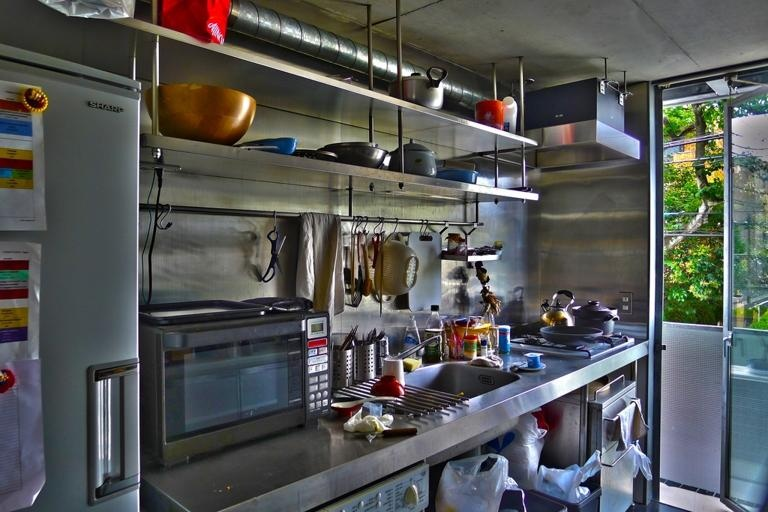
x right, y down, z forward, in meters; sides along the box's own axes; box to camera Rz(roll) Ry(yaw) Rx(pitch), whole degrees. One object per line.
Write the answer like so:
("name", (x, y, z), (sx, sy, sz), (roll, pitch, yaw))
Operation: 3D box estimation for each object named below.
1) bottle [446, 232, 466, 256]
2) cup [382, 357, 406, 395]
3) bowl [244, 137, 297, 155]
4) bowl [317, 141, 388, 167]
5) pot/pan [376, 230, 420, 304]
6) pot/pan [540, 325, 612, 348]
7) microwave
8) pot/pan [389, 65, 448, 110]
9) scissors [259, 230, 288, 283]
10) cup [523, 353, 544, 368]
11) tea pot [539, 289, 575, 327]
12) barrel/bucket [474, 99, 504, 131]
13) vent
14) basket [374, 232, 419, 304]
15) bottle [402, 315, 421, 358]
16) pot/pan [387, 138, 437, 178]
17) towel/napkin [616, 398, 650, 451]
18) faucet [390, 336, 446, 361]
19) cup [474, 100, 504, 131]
("bottle", (0.461, -0.078, 3.623), (0.156, 0.156, 0.093), (7, -10, -43))
("cup", (0.049, 0.611, 2.844), (0.137, 0.192, 0.143), (5, -18, 1))
("bowl", (-0.464, -0.456, 2.355), (0.262, 0.068, 0.092), (-7, 18, -42))
("bowl", (-0.124, -0.471, 2.661), (0.173, 0.060, 0.172), (-2, -2, 0))
("pot/pan", (0.017, 0.065, 3.265), (0.361, 0.377, 0.284), (-6, 7, 4))
("pot/pan", (1.191, 0.505, 3.665), (0.183, 0.065, 0.280), (1, 0, -21))
("microwave", (-0.665, 0.495, 2.368), (0.550, 0.487, 0.779), (-2, -1, 44))
("pot/pan", (0.155, -0.884, 2.945), (0.311, 0.187, 0.244), (7, 7, 43))
("scissors", (-0.550, 0.000, 2.817), (0.123, 0.270, 0.014), (5, -2, -41))
("cup", (0.861, 0.600, 3.280), (0.086, 0.084, 0.102), (1, -12, -7))
("tea pot", (1.221, 0.377, 4.023), (0.204, 0.284, 0.282), (-7, 7, -42))
("barrel/bucket", (0.610, -0.806, 3.304), (0.155, 0.158, 0.170), (-1, -1, 0))
("vent", (1.308, -0.921, 3.920), (0.796, 0.429, 0.829), (5, 3, 31))
("basket", (0.057, 0.074, 3.147), (0.278, 0.339, 0.326), (2, -2, 41))
("bottle", (0.155, 0.489, 3.459), (0.137, 0.284, 0.096), (3, 12, 5))
("pot/pan", (0.143, -0.484, 2.890), (0.191, 0.143, 0.195), (4, 4, 42))
("towel/napkin", (1.544, 1.053, 3.631), (0.377, 0.235, 0.111), (-2, 1, -45))
("faucet", (0.196, 0.536, 3.294), (0.309, 0.080, 0.060), (-21, 32, -29))
("cup", (0.606, -0.807, 3.306), (0.155, 0.160, 0.169), (0, -1, 0))
